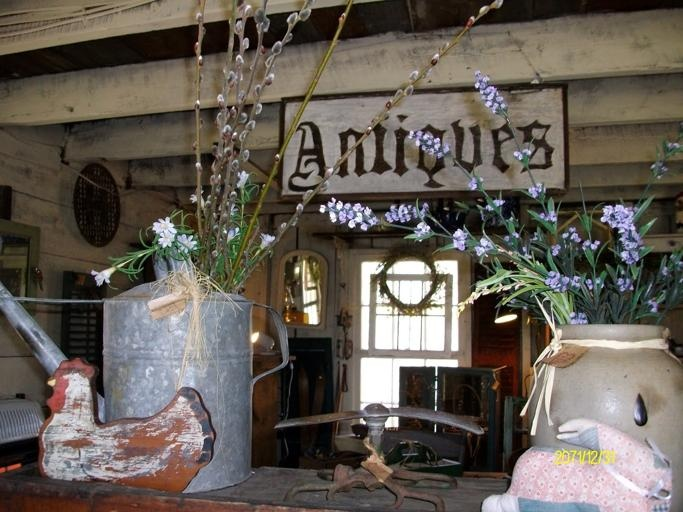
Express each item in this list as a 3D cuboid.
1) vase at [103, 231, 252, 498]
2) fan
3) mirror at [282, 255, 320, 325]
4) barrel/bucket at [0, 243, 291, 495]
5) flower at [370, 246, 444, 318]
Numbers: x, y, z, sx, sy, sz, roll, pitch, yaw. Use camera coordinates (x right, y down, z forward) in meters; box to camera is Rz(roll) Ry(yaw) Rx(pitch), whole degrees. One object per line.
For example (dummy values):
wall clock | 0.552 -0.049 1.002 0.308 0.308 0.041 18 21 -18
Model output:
vase | -0.409 0.274 1.553 0.344 0.623 0.344 6 -19 -43
fan | 0.124 0.416 1.533 0.294 0.174 0.327 1 1 26
mirror | -0.444 0.358 6.799 0.534 1.012 0.020 1 -34 -3
barrel/bucket | -0.445 0.269 1.449 0.483 0.529 0.189 2 -6 -2
flower | 0.681 0.228 6.418 0.733 0.763 0.219 1 -11 -12
